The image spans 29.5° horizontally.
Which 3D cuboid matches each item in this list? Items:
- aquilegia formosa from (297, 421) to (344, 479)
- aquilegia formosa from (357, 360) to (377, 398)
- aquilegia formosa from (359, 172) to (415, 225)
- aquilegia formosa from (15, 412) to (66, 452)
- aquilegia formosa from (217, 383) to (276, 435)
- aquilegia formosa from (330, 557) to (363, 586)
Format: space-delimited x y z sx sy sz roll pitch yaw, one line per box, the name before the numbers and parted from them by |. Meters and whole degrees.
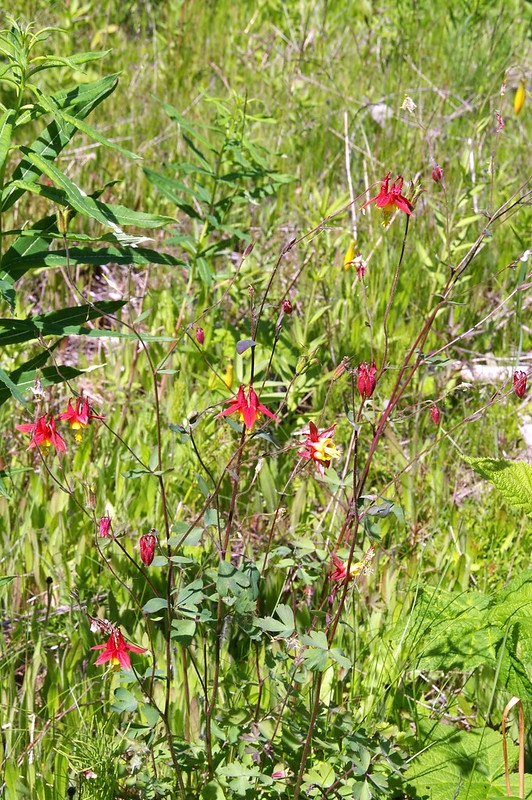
aquilegia formosa | 0.106 0.069 1.709 0.082 0.099 0.041 15 -9 20
aquilegia formosa | 0.163 -0.037 1.653 0.018 0.066 0.030 6 14 34
aquilegia formosa | 0.220 -0.336 1.767 0.101 0.108 0.089 -1 6 18
aquilegia formosa | -0.397 0.070 1.812 0.074 0.053 0.080 0 -6 -20
aquilegia formosa | -0.023 0.022 1.683 0.072 0.045 0.076 11 0 31
aquilegia formosa | 0.143 0.297 1.780 0.046 0.025 0.050 -1 -8 -24
